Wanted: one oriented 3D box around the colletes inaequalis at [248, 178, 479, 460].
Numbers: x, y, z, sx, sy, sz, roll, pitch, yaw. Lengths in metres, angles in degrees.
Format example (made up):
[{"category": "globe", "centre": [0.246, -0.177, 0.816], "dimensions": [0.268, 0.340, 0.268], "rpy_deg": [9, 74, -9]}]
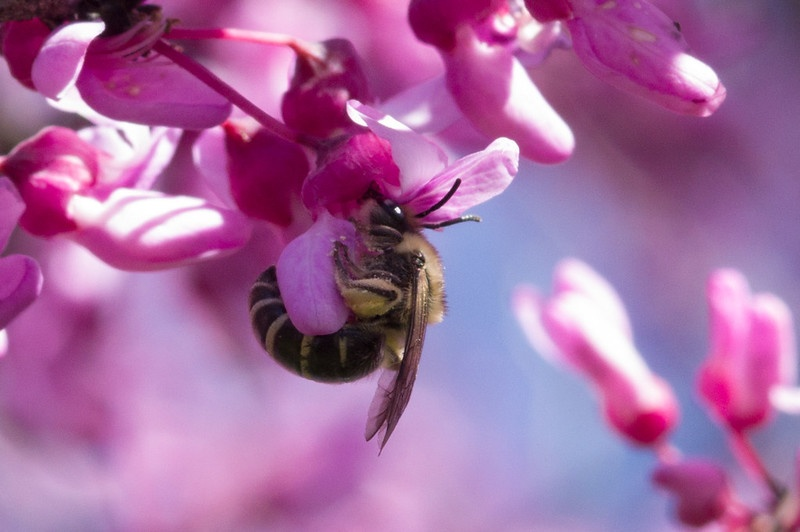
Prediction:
[{"category": "colletes inaequalis", "centre": [-0.032, 0.030, 0.778], "dimensions": [0.160, 0.250, 0.083], "rpy_deg": [12, 10, 43]}]
